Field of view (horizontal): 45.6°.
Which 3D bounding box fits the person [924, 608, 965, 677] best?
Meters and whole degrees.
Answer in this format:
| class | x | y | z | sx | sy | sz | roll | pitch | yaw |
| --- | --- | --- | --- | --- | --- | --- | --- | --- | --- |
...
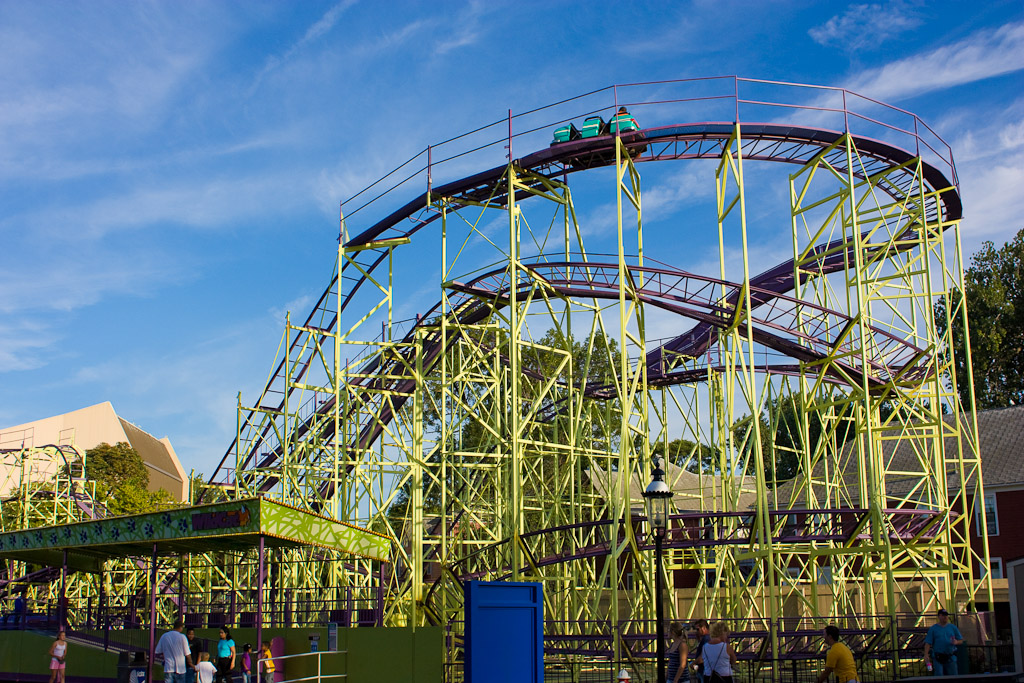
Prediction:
| class | x | y | z | sx | sy | sz | roll | pitch | yaw |
| --- | --- | --- | --- | --- | --- | --- | --- | --- | --- |
| person | 10.826 | 7.490 | 30.389 | 0.882 | 1.684 | 0.867 | -8 | -22 | 17 |
